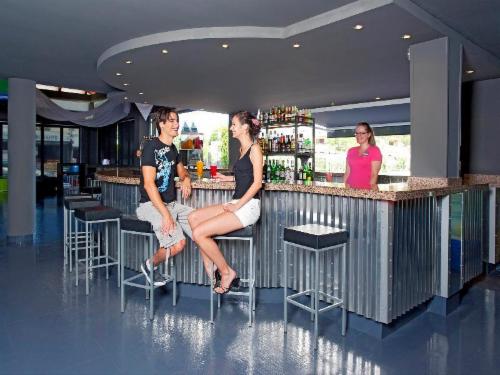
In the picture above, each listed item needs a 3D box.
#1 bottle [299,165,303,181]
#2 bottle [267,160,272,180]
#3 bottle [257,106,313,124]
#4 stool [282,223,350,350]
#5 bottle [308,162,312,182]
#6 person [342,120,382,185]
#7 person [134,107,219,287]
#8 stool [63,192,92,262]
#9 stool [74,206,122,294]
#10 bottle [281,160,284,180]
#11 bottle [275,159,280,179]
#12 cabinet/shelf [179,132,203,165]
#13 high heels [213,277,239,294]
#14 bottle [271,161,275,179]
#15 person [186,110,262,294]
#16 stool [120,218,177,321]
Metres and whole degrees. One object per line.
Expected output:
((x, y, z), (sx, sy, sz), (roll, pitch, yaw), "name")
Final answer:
((0.859, -0.257, 6.333), (0.067, 0.199, 0.211), (2, 13, 6), "bottle")
((0.320, -0.292, 6.205), (0.112, 0.242, 0.332), (1, 13, 3), "bottle")
((0.595, -1.207, 6.277), (0.877, 0.314, 0.420), (3, 13, 10), "bottle")
((0.599, 0.853, 3.593), (0.674, 1.021, 0.731), (5, 13, 21), "stool")
((1.009, -0.280, 6.335), (0.086, 0.283, 0.310), (2, 13, 9), "bottle")
((1.376, -0.369, 4.557), (0.436, 0.798, 1.298), (3, 13, 14), "person")
((-0.721, 0.095, 3.968), (0.915, 1.831, 0.850), (5, 11, 22), "person")
((-2.413, 0.622, 5.379), (0.380, 0.645, 0.399), (-3, -12, 43), "stool")
((-1.841, 0.746, 4.753), (0.528, 0.816, 0.545), (-1, 1, 33), "stool")
((0.525, -0.266, 6.085), (0.083, 0.204, 0.149), (1, 12, 5), "bottle")
((0.453, -0.269, 6.078), (0.068, 0.219, 0.117), (-1, 12, -5), "bottle")
((-0.978, -0.654, 6.501), (0.336, 0.556, 0.352), (17, 19, 36), "cabinet/shelf")
((-0.233, 0.985, 3.794), (0.261, 0.103, 0.150), (0, 3, -15), "high heels")
((0.389, -0.265, 6.112), (0.057, 0.216, 0.116), (1, 12, 2), "bottle")
((-0.220, 0.169, 3.781), (0.775, 1.827, 0.440), (-2, 12, -11), "person")
((-1.193, 0.829, 4.044), (0.459, 0.944, 0.508), (3, 0, 8), "stool")
